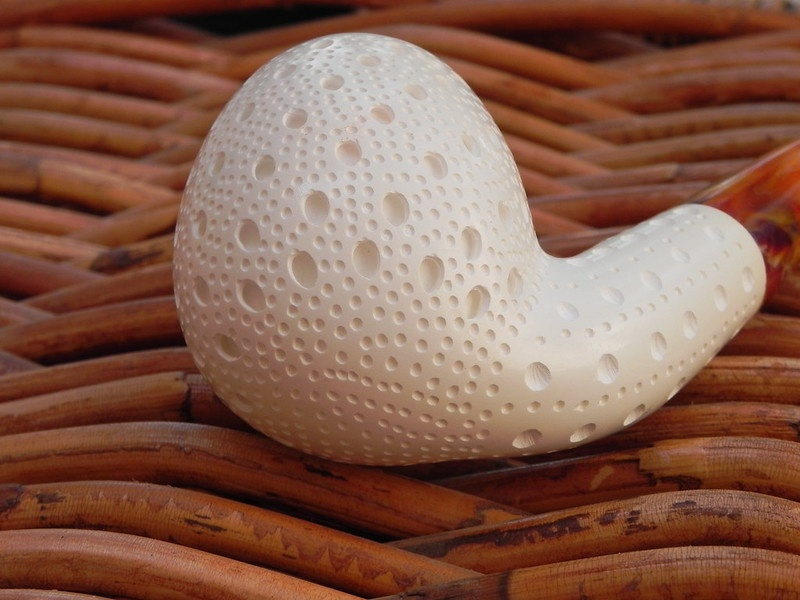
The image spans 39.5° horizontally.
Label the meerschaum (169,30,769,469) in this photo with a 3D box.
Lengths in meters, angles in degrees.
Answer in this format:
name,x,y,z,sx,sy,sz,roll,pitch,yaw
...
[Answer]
name,x,y,z,sx,sy,sz,roll,pitch,yaw
meerschaum,0.124,-0.051,0.989,0.512,0.221,0.291,-9,48,-41
